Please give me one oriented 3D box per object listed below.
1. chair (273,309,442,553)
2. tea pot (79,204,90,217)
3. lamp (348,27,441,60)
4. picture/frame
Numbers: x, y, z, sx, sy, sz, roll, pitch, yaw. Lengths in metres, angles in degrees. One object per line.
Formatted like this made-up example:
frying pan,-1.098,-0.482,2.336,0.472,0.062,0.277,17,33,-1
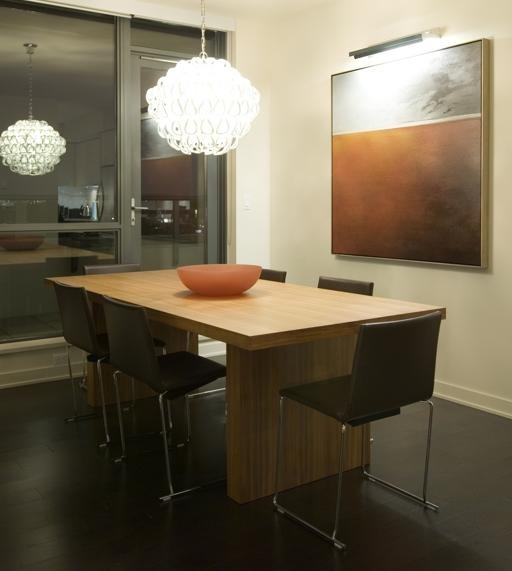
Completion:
chair,0.373,0.470,1.691,0.527,0.867,0.581,5,8,18
tea pot,-1.392,-0.612,3.717,0.073,0.103,0.047,-3,9,-29
lamp,0.955,-1.690,3.241,0.155,0.084,0.796,-8,13,-31
picture/frame,1.098,-0.922,3.183,0.110,1.962,1.467,0,1,-31
